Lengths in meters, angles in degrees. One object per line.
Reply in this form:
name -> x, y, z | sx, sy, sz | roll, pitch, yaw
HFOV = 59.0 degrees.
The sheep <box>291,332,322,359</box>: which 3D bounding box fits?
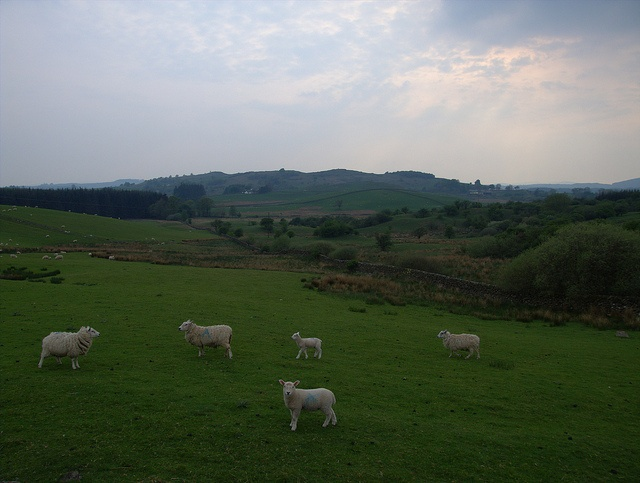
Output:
sheep -> -0.769, 6.037, 33.464 | 1.904, 1.384, 1.591 | 5, 5, -6
